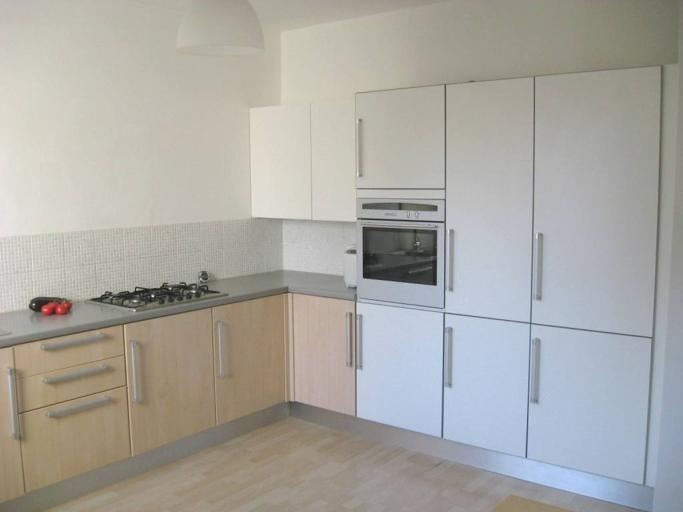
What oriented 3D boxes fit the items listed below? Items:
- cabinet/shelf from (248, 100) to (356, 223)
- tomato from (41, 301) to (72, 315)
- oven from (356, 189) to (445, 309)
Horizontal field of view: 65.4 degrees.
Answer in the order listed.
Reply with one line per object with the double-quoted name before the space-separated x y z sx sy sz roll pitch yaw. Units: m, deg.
"cabinet/shelf" -0.222 -0.745 4.546 1.082 1.004 0.407 -1 -9 5
"tomato" -1.807 0.334 3.365 0.087 0.058 0.125 -5 1 -39
"oven" 0.403 0.036 3.946 0.716 0.850 0.633 5 -19 -8
